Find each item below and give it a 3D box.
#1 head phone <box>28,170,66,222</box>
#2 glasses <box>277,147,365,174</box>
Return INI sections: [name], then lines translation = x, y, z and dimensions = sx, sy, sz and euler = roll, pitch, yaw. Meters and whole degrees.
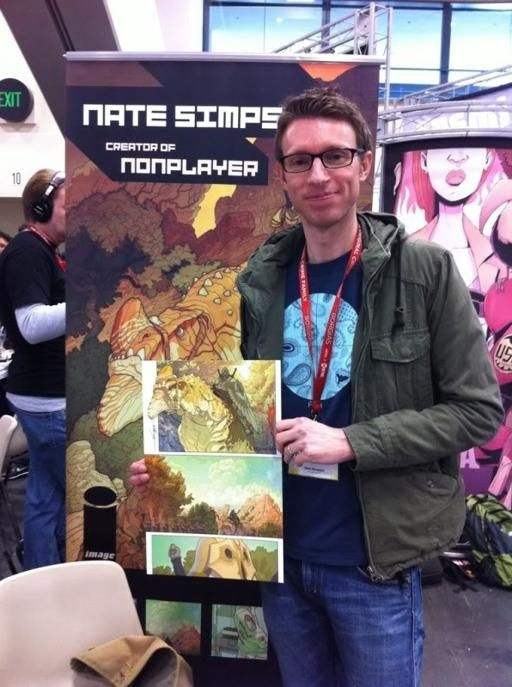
[head phone]
translation = -0.931, -0.668, 2.574
dimensions = 0.078, 0.188, 0.199
euler = -5, -18, -43
[glasses]
translation = 0.152, -0.426, 1.359
dimensions = 0.192, 0.050, 0.071
euler = -3, 14, 11
